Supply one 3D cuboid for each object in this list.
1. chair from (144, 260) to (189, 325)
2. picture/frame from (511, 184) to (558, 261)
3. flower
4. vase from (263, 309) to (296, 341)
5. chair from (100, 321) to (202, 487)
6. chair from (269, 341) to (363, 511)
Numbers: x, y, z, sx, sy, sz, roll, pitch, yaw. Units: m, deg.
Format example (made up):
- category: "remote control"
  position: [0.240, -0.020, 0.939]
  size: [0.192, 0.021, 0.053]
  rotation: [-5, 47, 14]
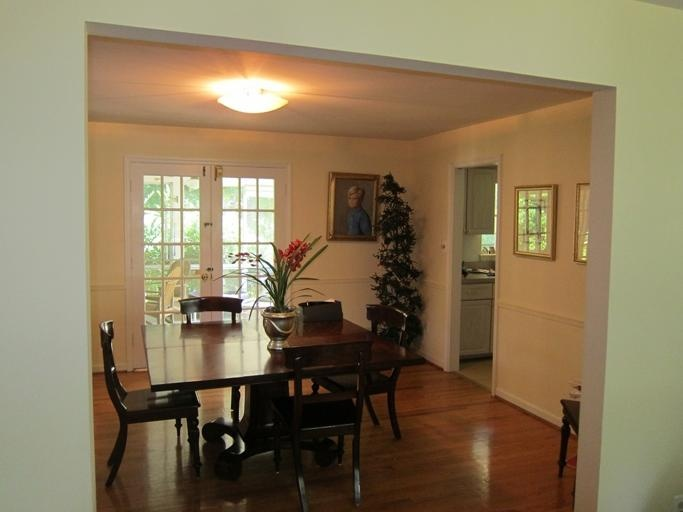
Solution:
- category: "chair"
  position: [-1.925, 0.400, 5.805]
  size: [0.620, 0.832, 0.512]
  rotation: [0, 2, -16]
- category: "picture/frame"
  position: [1.709, -0.295, 4.696]
  size: [0.060, 0.811, 0.709]
  rotation: [0, 1, -24]
- category: "flower"
  position: [-0.816, 0.153, 5.351]
  size: [0.873, 0.569, 0.854]
  rotation: [-1, 2, -18]
- category: "vase"
  position: [-0.430, 0.461, 3.634]
  size: [0.215, 0.181, 0.213]
  rotation: [0, 1, -12]
- category: "chair"
  position: [-1.295, 0.974, 3.624]
  size: [0.606, 1.050, 0.421]
  rotation: [-2, 9, -20]
- category: "chair"
  position: [-0.141, 1.027, 3.415]
  size: [0.585, 1.069, 0.499]
  rotation: [0, 9, -7]
